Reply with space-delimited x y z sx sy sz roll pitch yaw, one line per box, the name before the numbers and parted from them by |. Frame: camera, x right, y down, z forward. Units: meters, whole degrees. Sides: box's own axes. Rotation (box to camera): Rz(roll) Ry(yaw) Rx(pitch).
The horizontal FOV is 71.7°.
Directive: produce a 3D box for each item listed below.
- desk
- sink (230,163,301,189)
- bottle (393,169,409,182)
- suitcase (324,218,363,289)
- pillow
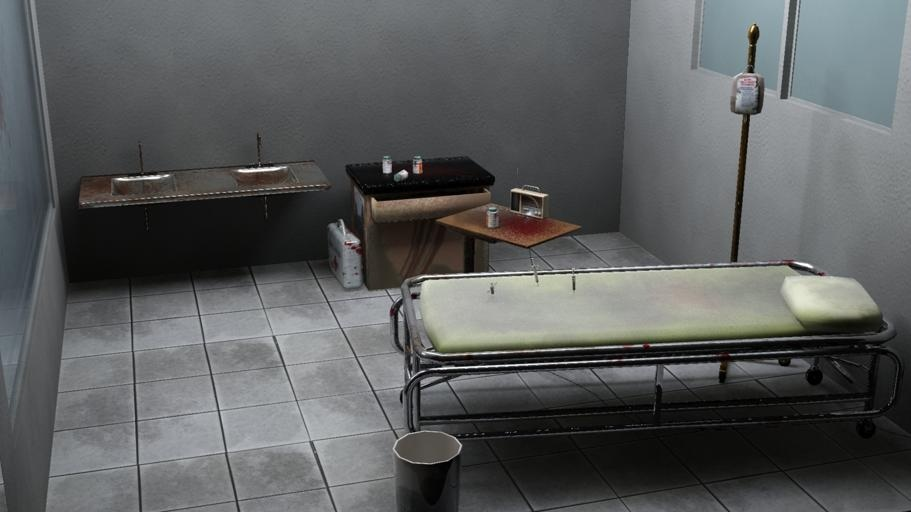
desk | 0.510 0.026 5.741 1.014 0.660 0.938 9 25 12
sink | -2.024 -0.828 6.648 0.666 0.154 0.356 -3 27 -8
bottle | -0.553 -0.812 6.396 0.143 0.114 0.170 -2 19 -5
suitcase | -1.174 0.005 6.677 0.263 0.551 0.722 -5 16 -18
pillow | 2.754 0.304 4.650 0.662 0.117 0.644 -27 44 -35
